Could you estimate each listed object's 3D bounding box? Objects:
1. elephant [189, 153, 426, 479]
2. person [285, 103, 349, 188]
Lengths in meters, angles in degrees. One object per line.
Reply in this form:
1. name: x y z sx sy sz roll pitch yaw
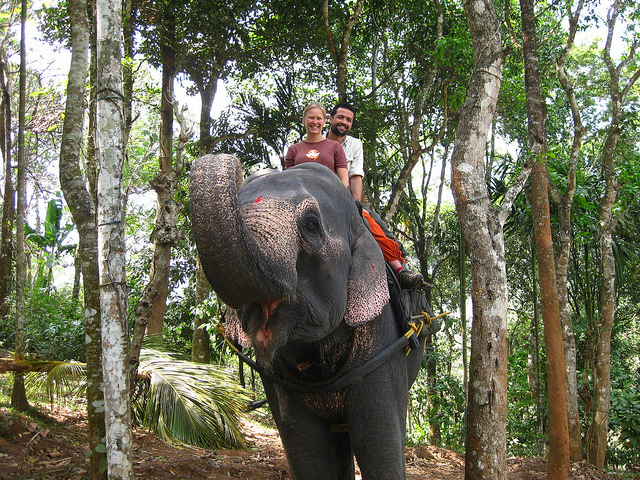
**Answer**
1. elephant: -0.098 0.790 5.961 0.975 3.140 2.554 -5 -12 34
2. person: -0.083 -0.984 7.088 0.739 1.346 0.651 0 -24 -4
